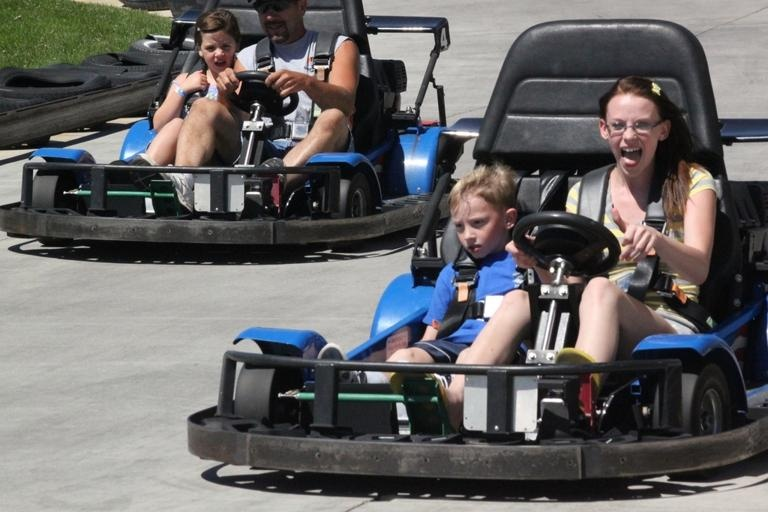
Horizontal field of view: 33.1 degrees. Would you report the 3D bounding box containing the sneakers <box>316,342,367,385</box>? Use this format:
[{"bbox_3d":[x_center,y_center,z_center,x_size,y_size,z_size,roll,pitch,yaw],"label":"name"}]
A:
[{"bbox_3d":[-0.162,0.413,4.973,0.099,0.096,0.268,-3,10,9],"label":"sneakers"}]

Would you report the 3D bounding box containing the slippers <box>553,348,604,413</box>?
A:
[{"bbox_3d":[0.698,0.447,4.660,0.171,0.248,0.227,4,5,9],"label":"slippers"}]

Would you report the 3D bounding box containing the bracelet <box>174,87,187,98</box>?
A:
[{"bbox_3d":[-1.350,-1.081,8.474,0.048,0.063,0.062,-37,-17,2],"label":"bracelet"}]
